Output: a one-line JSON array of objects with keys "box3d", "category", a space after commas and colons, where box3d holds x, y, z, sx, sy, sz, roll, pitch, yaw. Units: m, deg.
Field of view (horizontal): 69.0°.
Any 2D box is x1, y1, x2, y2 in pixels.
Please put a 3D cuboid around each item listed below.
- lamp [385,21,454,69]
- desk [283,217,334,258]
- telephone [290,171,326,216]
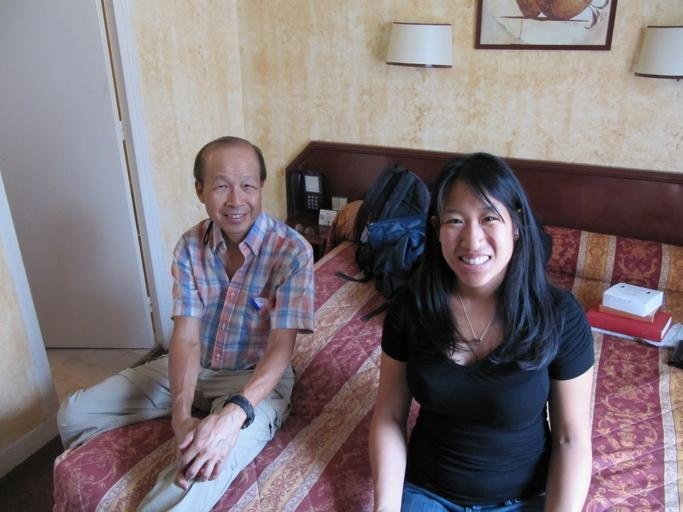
[{"box3d": [0.556, -1.346, 3.337, 0.478, 0.277, 0.336, 7, 8, 15], "category": "lamp"}, {"box3d": [-0.197, -0.154, 3.635, 0.287, 0.295, 0.295, 17, 31, 24], "category": "desk"}, {"box3d": [-0.264, -0.510, 3.902, 0.295, 0.333, 0.140, 9, 19, 25], "category": "telephone"}]
